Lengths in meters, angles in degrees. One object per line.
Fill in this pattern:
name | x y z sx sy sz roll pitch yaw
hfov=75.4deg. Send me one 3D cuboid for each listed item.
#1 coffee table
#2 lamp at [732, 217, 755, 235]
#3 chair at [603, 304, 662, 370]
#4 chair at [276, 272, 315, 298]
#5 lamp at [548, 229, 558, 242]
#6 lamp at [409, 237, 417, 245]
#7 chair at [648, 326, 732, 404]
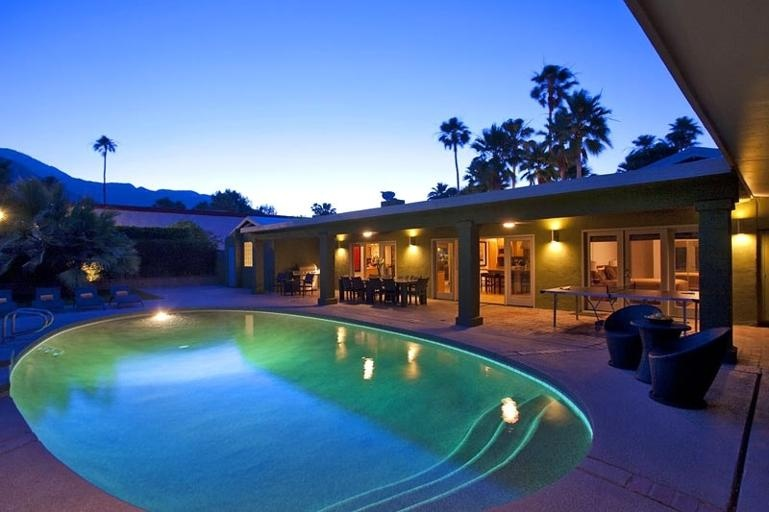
coffee table | 5.072 1.787 9.175 1.033 1.098 0.871 3 -3 -23
lamp | 9.376 -0.753 13.061 0.687 0.507 0.365 2 3 27
chair | 4.643 1.642 9.951 0.759 0.880 0.783 -21 -9 -10
chair | -3.682 1.203 21.229 0.986 1.295 1.381 -2 -2 39
lamp | 5.235 -0.608 15.365 0.318 0.565 0.325 1 2 24
lamp | 1.074 -0.531 18.974 0.327 0.320 0.098 -1 0 22
chair | 5.229 2.014 8.600 1.302 1.259 1.178 -7 2 -36
